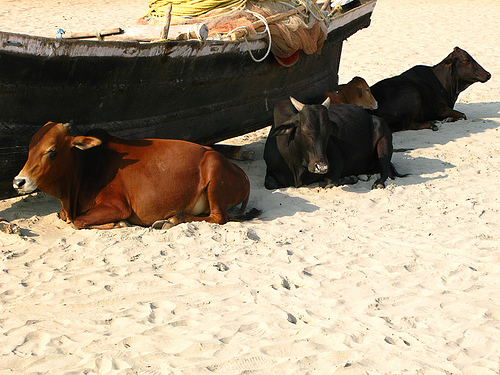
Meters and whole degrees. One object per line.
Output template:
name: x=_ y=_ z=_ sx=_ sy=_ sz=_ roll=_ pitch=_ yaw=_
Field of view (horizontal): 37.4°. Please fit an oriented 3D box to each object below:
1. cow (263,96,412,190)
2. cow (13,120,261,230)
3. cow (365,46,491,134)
cow: x=1.048 y=-0.603 z=9.784 sx=1.401 sy=0.783 sz=1.854 roll=-3 pitch=6 yaw=-5
cow: x=-1.417 y=-0.151 z=8.954 sx=2.961 sy=1.031 sz=1.015 roll=1 pitch=7 yaw=-26
cow: x=3.228 y=-1.842 z=13.300 sx=3.167 sy=1.289 sz=1.219 roll=-10 pitch=19 yaw=-16
